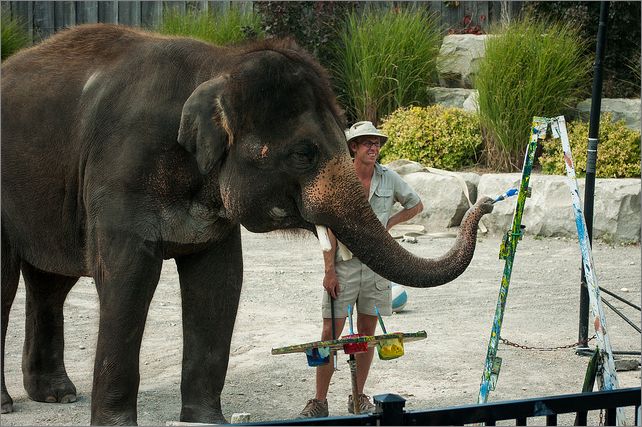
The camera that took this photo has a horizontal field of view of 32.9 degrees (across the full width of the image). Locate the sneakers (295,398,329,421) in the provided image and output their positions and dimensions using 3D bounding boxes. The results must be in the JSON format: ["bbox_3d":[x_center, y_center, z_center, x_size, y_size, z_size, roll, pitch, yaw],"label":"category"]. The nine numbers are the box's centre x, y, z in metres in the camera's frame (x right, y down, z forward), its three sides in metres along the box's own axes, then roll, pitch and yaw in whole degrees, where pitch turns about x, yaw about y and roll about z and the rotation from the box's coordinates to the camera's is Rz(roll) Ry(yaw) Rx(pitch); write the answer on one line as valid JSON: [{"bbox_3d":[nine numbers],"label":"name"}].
[{"bbox_3d":[-0.055,1.863,10.454,0.439,0.198,0.183,1,-4,-33],"label":"sneakers"}]
